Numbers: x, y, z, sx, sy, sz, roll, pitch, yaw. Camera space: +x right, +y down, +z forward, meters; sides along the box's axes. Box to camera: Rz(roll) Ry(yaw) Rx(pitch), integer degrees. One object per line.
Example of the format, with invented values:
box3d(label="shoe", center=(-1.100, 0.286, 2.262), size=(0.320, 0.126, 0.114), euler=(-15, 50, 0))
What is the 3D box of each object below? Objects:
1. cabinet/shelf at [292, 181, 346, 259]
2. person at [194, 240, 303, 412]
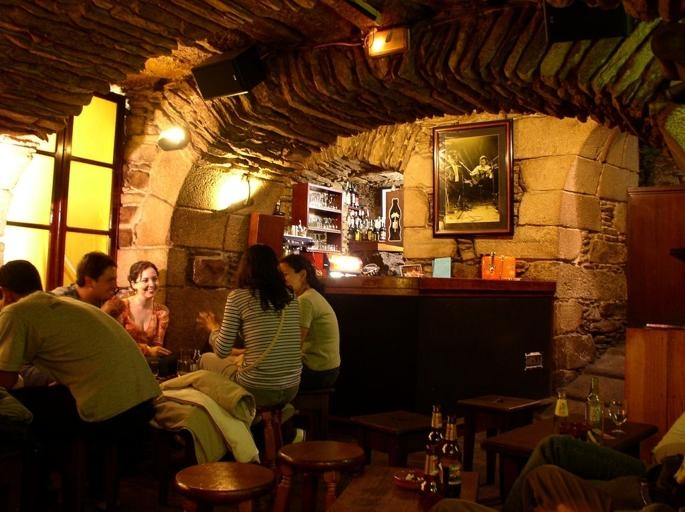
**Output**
box3d(label="cabinet/shelf", center=(-0.439, -0.719, 9.288), size=(0.493, 1.302, 1.286), euler=(-3, -6, 43))
box3d(label="person", center=(-0.591, 0.476, 3.425), size=(0.612, 1.093, 0.316), euler=(2, -5, -1))
